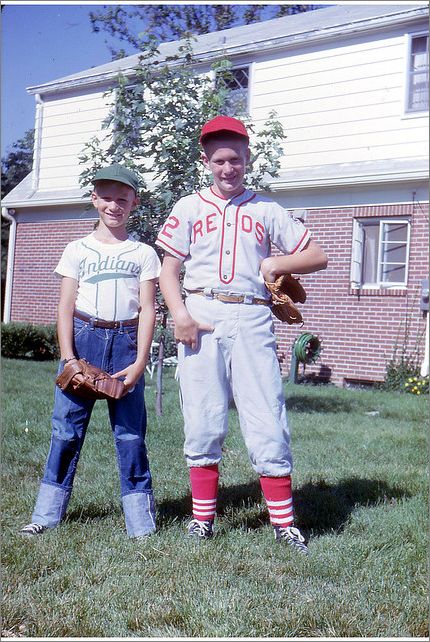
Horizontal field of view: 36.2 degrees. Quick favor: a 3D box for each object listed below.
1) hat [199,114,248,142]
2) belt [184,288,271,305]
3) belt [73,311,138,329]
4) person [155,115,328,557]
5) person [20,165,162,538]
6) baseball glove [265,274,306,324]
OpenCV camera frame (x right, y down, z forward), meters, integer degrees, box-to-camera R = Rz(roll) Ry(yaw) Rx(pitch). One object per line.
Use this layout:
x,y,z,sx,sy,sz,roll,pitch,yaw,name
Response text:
0.044,-0.848,2.870,0.209,0.120,0.172,2,2,-3,hat
0.056,-0.110,2.932,0.388,0.063,0.170,2,2,4,belt
-0.497,-0.006,3.007,0.292,0.075,0.086,2,2,-12,belt
0.098,0.051,2.957,0.766,1.907,0.301,3,2,0,person
-0.530,0.117,3.007,0.588,1.707,0.496,2,2,-5,person
0.334,-0.102,3.005,0.077,0.230,0.174,-5,33,50,baseball glove
